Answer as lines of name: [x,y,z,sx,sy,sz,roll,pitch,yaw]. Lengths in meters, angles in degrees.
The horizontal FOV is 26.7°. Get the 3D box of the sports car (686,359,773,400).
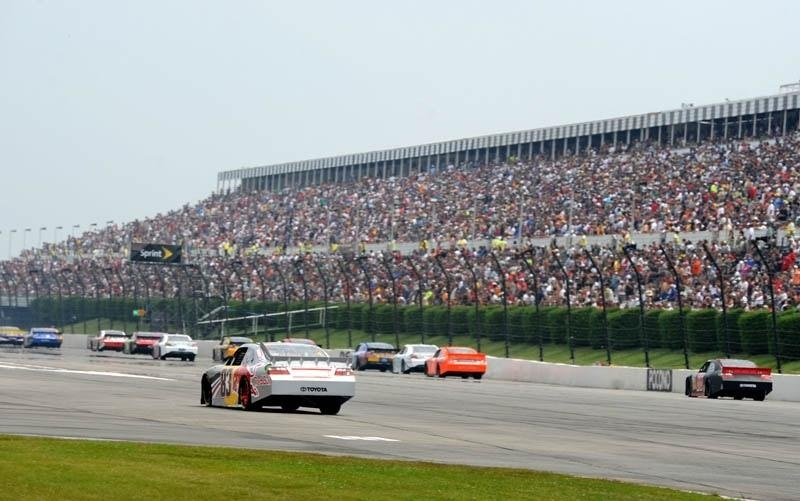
sports car: [14.220,5.720,73.527,2.916,1.893,5.219,0,0,-5]

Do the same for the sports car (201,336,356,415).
sports car: [-4.648,4.731,63.233,5.413,2.506,2.115,-3,-7,28]

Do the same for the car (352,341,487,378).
car: [1.786,5.466,82.285,1.938,1.807,6.295,3,-6,-25]
